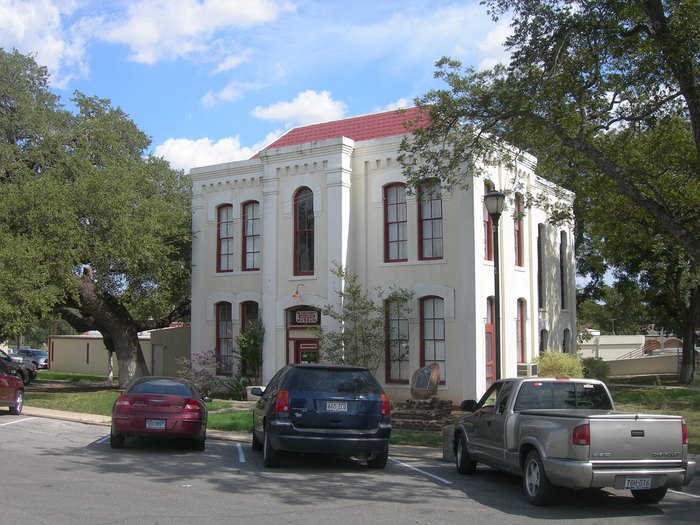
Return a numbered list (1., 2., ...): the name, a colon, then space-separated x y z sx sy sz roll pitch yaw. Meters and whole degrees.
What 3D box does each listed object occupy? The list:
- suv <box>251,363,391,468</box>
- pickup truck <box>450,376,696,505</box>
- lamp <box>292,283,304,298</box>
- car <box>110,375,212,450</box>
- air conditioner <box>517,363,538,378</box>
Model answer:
1. suv: -0.602 3.318 17.784 2.991 2.219 1.784 -2 -10 10
2. pickup truck: 3.677 3.215 15.976 2.001 1.489 3.986 5 -5 -19
3. lamp: -1.844 1.020 29.408 0.450 0.528 0.215 -7 -12 38
4. car: -4.451 3.631 19.405 2.150 1.627 1.115 3 -10 -16
5. air conditioner: 6.282 3.852 29.475 0.730 0.417 0.596 -4 -11 21
